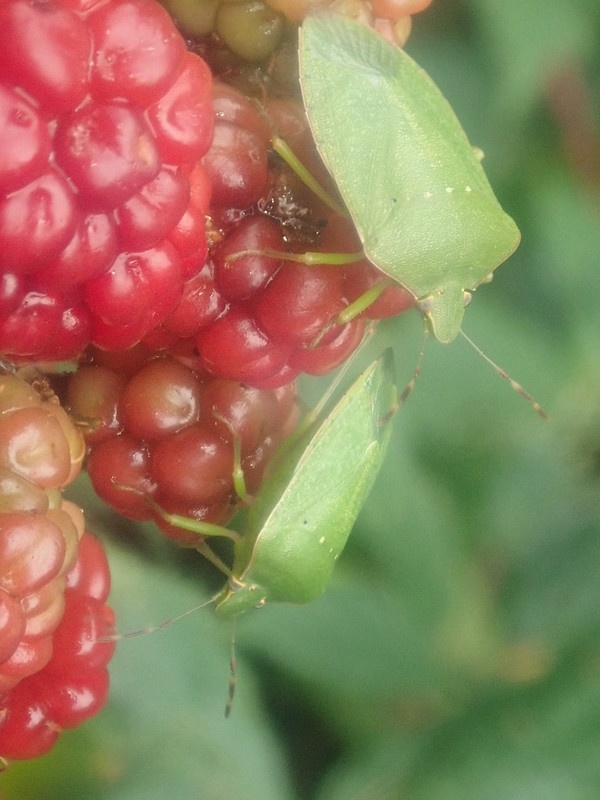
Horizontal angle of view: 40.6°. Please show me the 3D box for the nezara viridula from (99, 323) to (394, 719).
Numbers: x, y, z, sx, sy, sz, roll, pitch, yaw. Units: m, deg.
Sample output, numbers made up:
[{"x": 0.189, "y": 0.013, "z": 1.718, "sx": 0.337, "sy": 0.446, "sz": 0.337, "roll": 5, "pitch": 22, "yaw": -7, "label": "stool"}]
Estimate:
[{"x": -0.021, "y": 0.111, "z": 0.779, "sx": 0.192, "sy": 0.311, "sz": 0.204, "roll": -6, "pitch": 15, "yaw": 7, "label": "nezara viridula"}]
